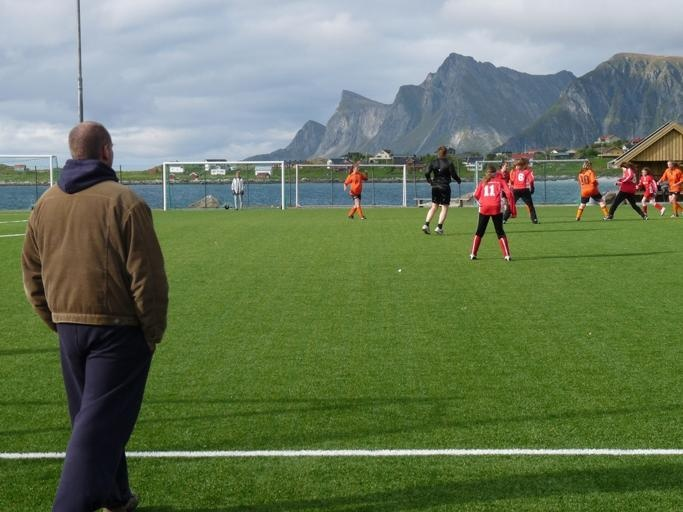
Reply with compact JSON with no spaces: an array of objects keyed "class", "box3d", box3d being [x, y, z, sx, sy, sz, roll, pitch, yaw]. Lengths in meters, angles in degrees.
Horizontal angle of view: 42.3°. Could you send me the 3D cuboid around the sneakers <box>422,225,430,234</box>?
[{"class":"sneakers","box3d":[2.006,-0.638,20.937,0.151,0.243,0.238,-1,-15,6]}]
